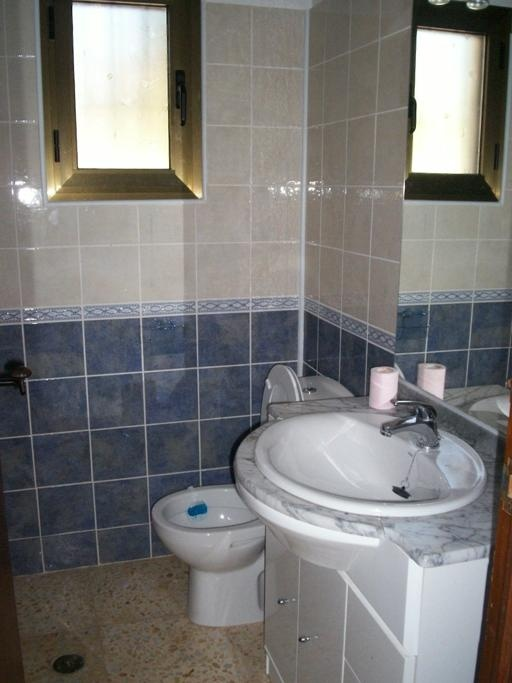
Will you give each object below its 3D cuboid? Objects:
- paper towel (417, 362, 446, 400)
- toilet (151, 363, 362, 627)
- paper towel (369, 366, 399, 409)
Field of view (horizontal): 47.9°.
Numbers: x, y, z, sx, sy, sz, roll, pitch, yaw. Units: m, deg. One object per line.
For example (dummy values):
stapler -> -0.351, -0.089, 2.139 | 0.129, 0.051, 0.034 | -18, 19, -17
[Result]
paper towel -> 0.417, 0.092, 1.368 | 0.057, 0.078, 0.063 | 5, 16, 18
toilet -> -0.034, 0.543, 2.063 | 0.626, 0.885, 0.435 | 1, 5, -24
paper towel -> 0.327, 0.113, 1.482 | 0.085, 0.101, 0.085 | -16, 22, -41
